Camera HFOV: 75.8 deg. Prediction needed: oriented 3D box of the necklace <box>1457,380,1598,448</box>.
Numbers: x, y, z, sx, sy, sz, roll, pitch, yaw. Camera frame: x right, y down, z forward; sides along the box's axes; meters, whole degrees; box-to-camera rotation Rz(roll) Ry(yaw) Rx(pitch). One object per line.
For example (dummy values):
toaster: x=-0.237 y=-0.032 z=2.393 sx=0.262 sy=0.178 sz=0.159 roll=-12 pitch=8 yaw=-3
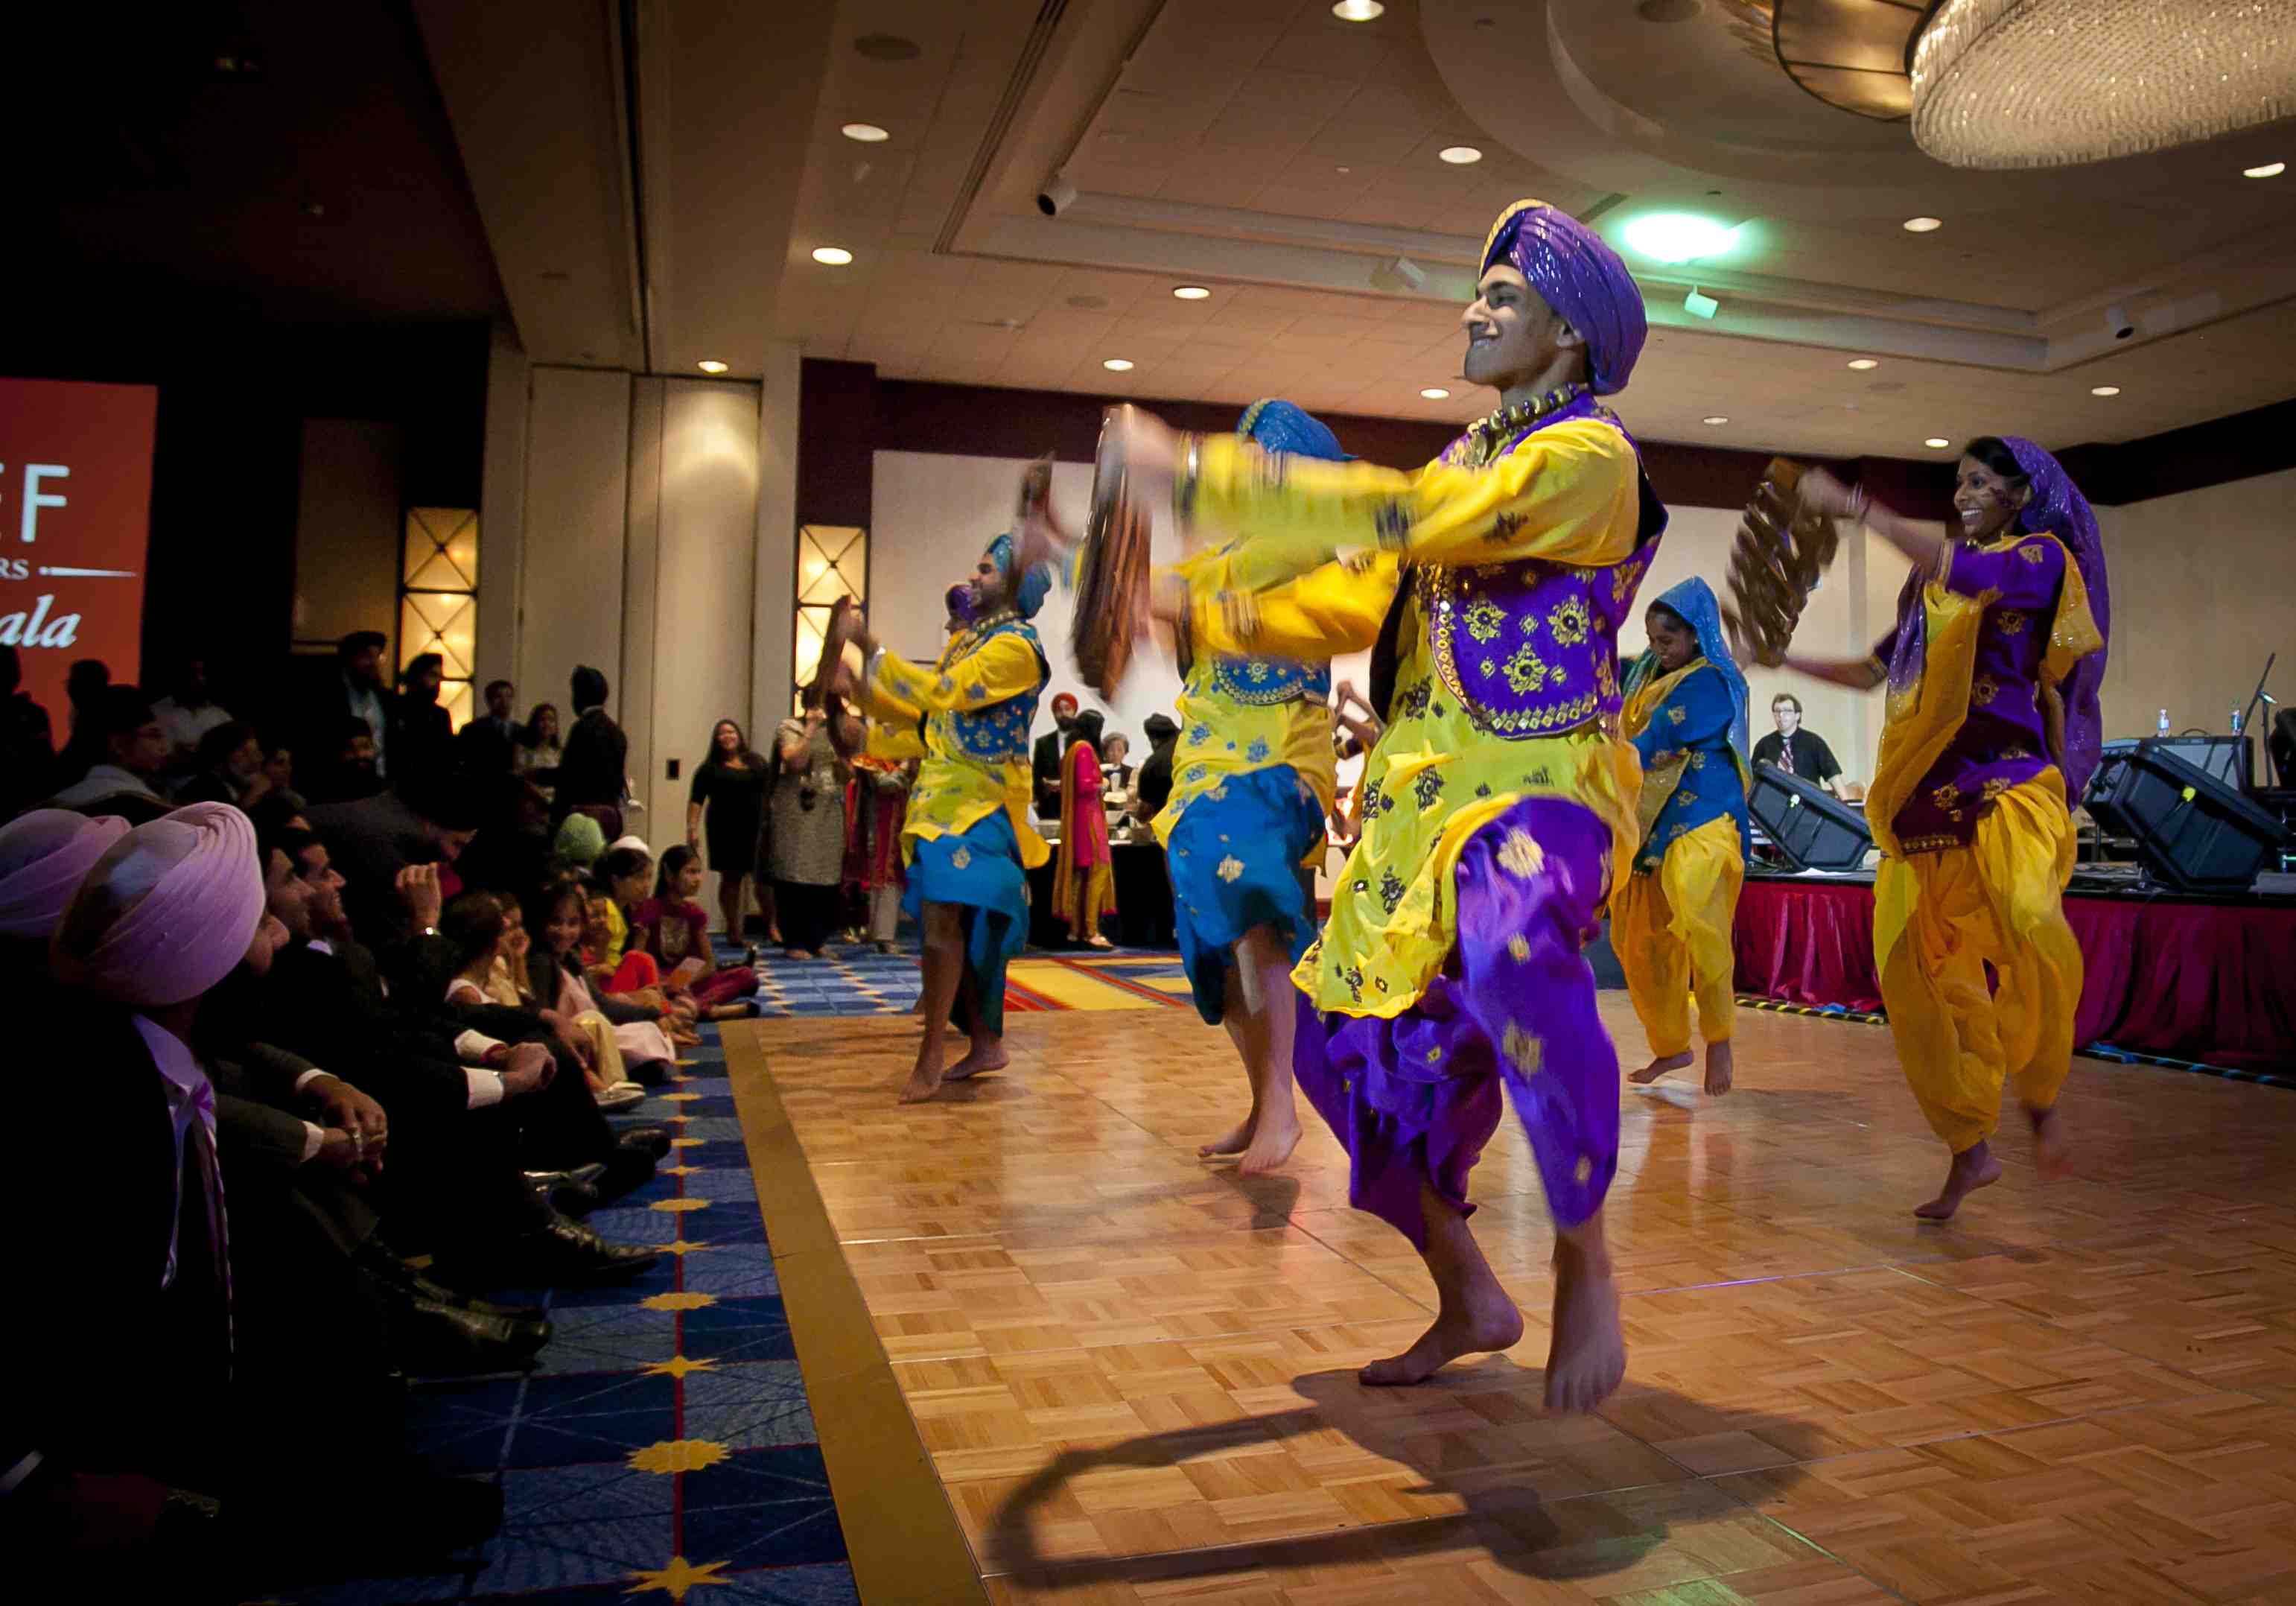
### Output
necklace: x=0.595 y=-0.595 z=2.268 sx=0.149 sy=0.042 sz=0.125 roll=-24 pitch=12 yaw=27

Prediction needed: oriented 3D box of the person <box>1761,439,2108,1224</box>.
person: x=2.007 y=0.005 z=3.712 sx=1.000 sy=1.926 sz=0.443 roll=0 pitch=2 yaw=-34

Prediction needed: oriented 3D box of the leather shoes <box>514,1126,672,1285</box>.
leather shoes: x=-1.175 y=0.818 z=3.098 sx=0.234 sy=0.109 sz=0.304 roll=-3 pitch=7 yaw=-18

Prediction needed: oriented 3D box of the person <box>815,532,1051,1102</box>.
person: x=-0.673 y=0.008 z=4.606 sx=0.746 sy=1.682 sz=0.552 roll=3 pitch=-4 yaw=-18

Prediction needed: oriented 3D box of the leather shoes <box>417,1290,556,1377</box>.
leather shoes: x=-1.157 y=0.914 z=2.559 sx=0.180 sy=0.065 sz=0.122 roll=11 pitch=28 yaw=-21

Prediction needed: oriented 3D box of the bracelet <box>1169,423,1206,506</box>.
bracelet: x=0.056 y=-0.464 z=2.086 sx=0.041 sy=0.106 sz=0.043 roll=1 pitch=1 yaw=2

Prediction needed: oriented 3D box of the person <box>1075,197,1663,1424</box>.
person: x=0.430 y=0.024 z=2.290 sx=0.746 sy=1.936 sz=0.442 roll=1 pitch=1 yaw=1

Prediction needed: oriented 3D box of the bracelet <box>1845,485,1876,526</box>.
bracelet: x=1.598 y=-0.659 z=3.300 sx=0.057 sy=0.065 sz=0.070 roll=-25 pitch=6 yaw=11
